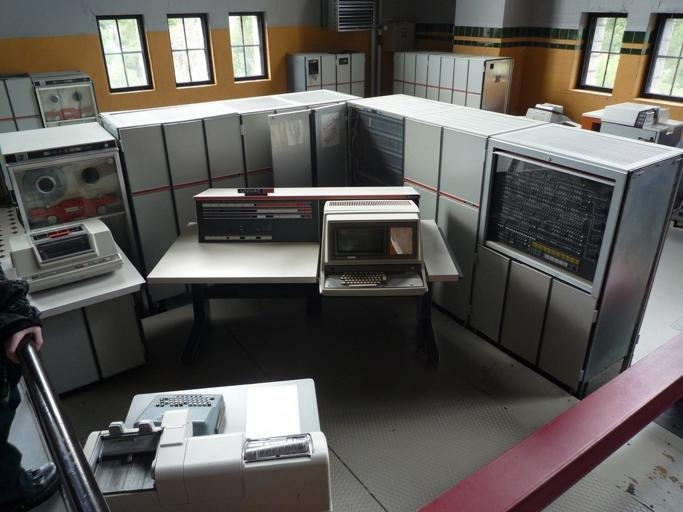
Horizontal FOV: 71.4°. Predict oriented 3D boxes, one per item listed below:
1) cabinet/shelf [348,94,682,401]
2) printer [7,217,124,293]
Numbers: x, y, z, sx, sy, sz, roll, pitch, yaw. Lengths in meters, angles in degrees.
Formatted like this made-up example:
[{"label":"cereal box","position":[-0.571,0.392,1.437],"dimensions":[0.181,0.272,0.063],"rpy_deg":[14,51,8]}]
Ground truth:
[{"label":"cabinet/shelf","position":[1.267,0.015,3.766],"dimensions":[0.700,1.441,2.197],"rpy_deg":[-16,36,-26]},{"label":"printer","position":[-2.003,-0.012,3.471],"dimensions":[0.708,0.390,0.547],"rpy_deg":[-20,47,-26]}]
